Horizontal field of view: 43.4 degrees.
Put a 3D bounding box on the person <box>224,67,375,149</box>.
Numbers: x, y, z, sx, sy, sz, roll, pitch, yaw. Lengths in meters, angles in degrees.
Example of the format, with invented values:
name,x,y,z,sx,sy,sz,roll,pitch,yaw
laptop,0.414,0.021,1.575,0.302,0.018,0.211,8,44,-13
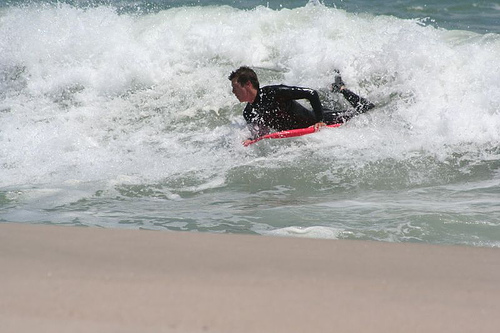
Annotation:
name,x,y,z,sx,sy,sz,roll,pitch,yaw
person,0.280,-0.465,4.945,1.111,0.579,0.465,-7,76,-21
